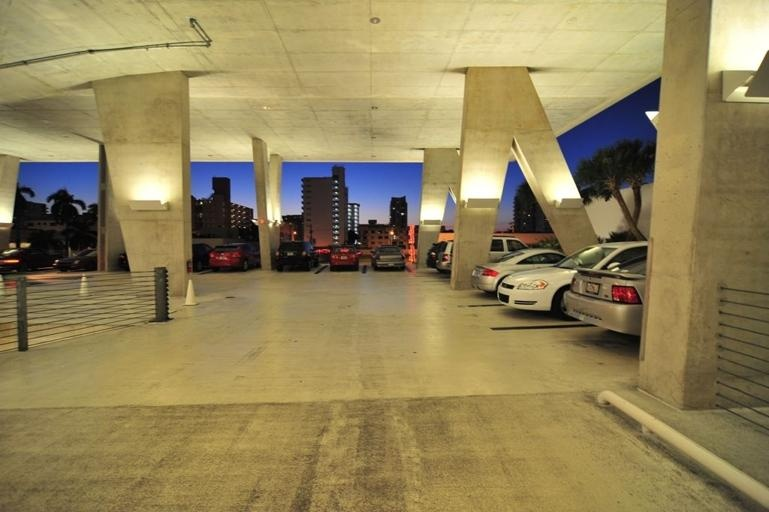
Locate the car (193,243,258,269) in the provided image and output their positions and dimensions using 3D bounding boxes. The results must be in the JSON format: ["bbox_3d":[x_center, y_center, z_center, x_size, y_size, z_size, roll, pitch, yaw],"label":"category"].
[{"bbox_3d":[-7.545,0.026,23.664,1.408,0.834,2.862,0,5,7],"label":"car"}]

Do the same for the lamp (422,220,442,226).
[{"bbox_3d":[2.826,-2.008,28.222,1.225,0.334,0.429,1,8,4],"label":"lamp"}]

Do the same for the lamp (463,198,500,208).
[{"bbox_3d":[3.216,-1.769,15.531,1.139,0.302,0.348,1,8,8],"label":"lamp"}]

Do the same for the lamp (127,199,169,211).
[{"bbox_3d":[-7.212,-1.548,14.299,1.111,0.302,0.274,0,8,-2],"label":"lamp"}]
